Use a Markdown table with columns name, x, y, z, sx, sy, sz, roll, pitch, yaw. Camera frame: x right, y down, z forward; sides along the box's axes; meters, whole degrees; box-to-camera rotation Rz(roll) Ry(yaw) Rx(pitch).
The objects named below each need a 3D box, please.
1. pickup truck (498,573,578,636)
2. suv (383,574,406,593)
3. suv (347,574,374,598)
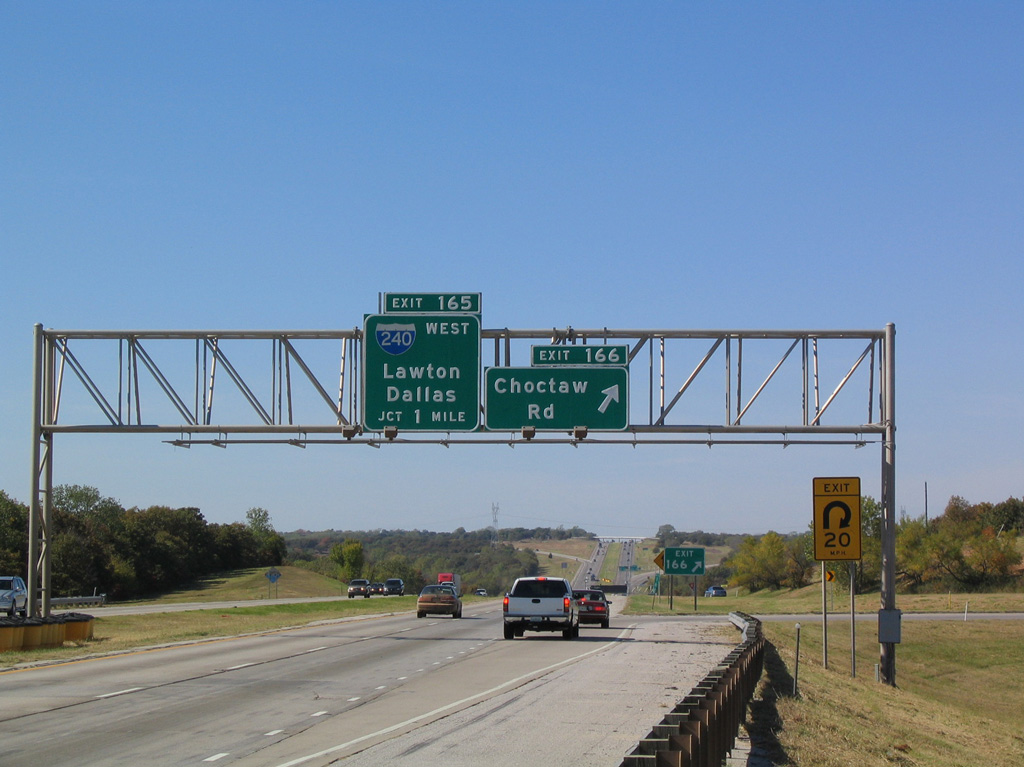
| name | x | y | z | sx | sy | sz | roll | pitch | yaw |
| --- | --- | --- | --- | --- | --- | --- | --- | --- | --- |
| pickup truck | 1.215 | 8.482 | 62.344 | 2.629 | 2.148 | 5.354 | 0 | -4 | 2 |
| suv | -8.668 | 15.415 | 122.616 | 1.080 | 0.952 | 1.814 | 1 | 3 | 1 |
| suv | -10.927 | 14.954 | 119.300 | 1.187 | 1.048 | 2.033 | 0 | -10 | 3 |
